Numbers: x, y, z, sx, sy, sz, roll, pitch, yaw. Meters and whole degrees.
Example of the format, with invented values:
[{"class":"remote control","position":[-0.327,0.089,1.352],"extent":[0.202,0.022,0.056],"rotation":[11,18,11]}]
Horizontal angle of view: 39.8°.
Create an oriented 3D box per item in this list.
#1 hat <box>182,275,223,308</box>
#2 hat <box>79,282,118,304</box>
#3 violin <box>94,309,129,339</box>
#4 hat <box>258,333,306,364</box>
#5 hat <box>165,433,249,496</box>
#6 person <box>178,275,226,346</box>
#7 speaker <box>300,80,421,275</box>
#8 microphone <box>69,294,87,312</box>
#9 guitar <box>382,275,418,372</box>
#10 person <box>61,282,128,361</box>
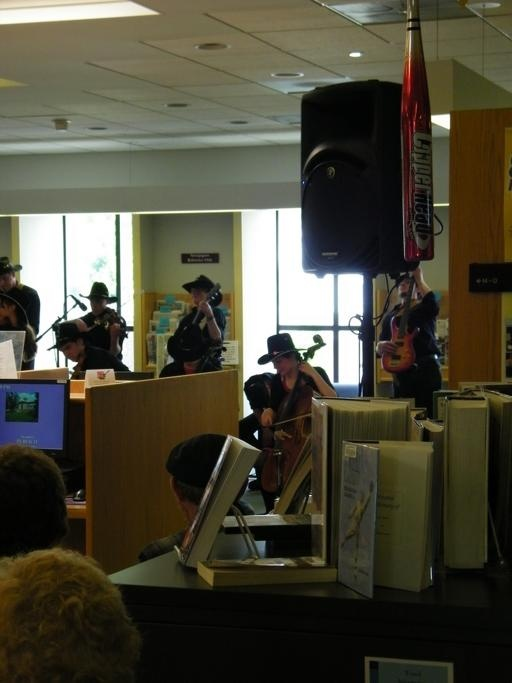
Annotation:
[{"class":"hat","position":[-0.506,-0.566,7.676],"extent":[0.327,0.154,0.394],"rotation":[19,-21,8]},{"class":"hat","position":[-1.631,-0.517,7.500],"extent":[0.259,0.238,0.677],"rotation":[-1,2,-12]},{"class":"violin","position":[-1.498,-0.146,7.416],"extent":[0.351,0.230,0.106],"rotation":[30,-41,-15]},{"class":"hat","position":[0.158,0.095,4.888],"extent":[0.238,0.135,0.215],"rotation":[-24,0,8]},{"class":"hat","position":[-0.153,0.341,2.087],"extent":[0.187,0.128,0.241],"rotation":[18,5,-28]},{"class":"person","position":[-0.523,-0.340,7.444],"extent":[0.404,0.798,0.264],"rotation":[1,-1,15]},{"class":"speaker","position":[0.268,-0.454,2.003],"extent":[0.133,0.535,0.407],"rotation":[-1,2,-39]},{"class":"microphone","position":[-2.429,-0.514,9.630],"extent":[0.169,0.213,0.811],"rotation":[39,-2,-16]},{"class":"guitar","position":[1.222,-0.123,6.096],"extent":[0.268,0.849,0.471],"rotation":[0,2,14]},{"class":"person","position":[-1.600,-0.190,7.375],"extent":[0.463,0.974,0.312],"rotation":[-24,5,8]}]
